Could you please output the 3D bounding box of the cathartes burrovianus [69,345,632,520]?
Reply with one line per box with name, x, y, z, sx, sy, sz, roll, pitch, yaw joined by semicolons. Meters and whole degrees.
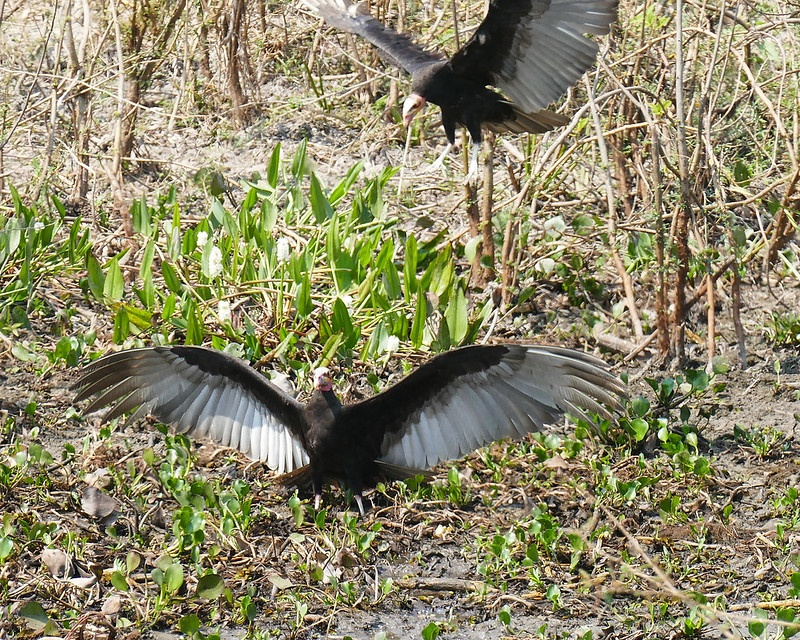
cathartes burrovianus;-0.240;0.498;4.938;2.771;0.839;0.939;-3;53;18
